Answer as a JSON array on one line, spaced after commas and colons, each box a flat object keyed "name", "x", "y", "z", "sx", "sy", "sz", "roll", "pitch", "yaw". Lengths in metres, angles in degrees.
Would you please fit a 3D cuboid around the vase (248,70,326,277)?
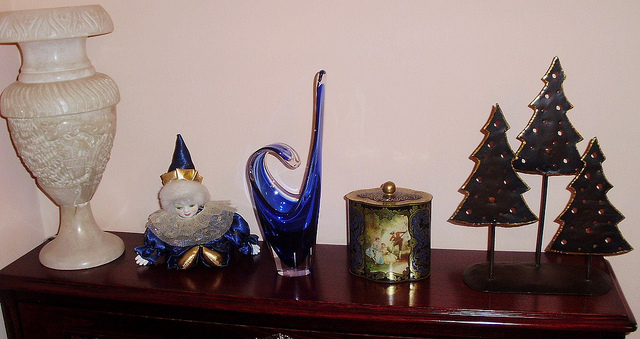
[{"name": "vase", "x": -0.121, "y": 0.017, "z": 2.045, "sx": 0.257, "sy": 0.716, "sz": 0.131, "roll": 1, "pitch": 14, "yaw": -3}]

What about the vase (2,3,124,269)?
[{"name": "vase", "x": -0.910, "y": -0.113, "z": 2.106, "sx": 0.388, "sy": 0.934, "sz": 0.219, "roll": -1, "pitch": 15, "yaw": -10}]
